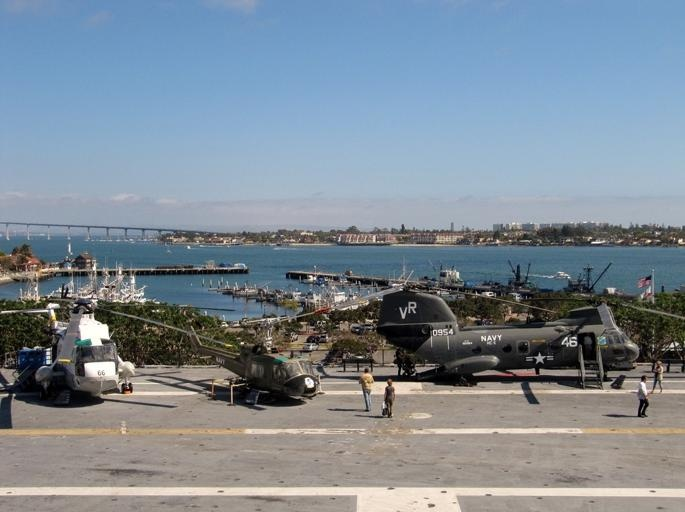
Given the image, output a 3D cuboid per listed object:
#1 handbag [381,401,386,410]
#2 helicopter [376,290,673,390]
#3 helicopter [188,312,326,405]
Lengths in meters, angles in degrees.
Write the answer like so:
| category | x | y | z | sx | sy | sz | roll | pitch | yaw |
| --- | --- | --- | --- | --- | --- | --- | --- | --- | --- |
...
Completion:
| category | x | y | z | sx | sy | sz | roll | pitch | yaw |
| --- | --- | --- | --- | --- | --- | --- | --- | --- | --- |
| handbag | 1.643 | 5.966 | 31.731 | 0.130 | 0.319 | 0.135 | 0 | -23 | 9 |
| helicopter | 7.799 | 3.595 | 36.379 | 12.808 | 3.870 | 10.387 | 1 | 16 | -8 |
| helicopter | -4.063 | 4.663 | 35.474 | 1.979 | 2.396 | 7.344 | -3 | 2 | -43 |
